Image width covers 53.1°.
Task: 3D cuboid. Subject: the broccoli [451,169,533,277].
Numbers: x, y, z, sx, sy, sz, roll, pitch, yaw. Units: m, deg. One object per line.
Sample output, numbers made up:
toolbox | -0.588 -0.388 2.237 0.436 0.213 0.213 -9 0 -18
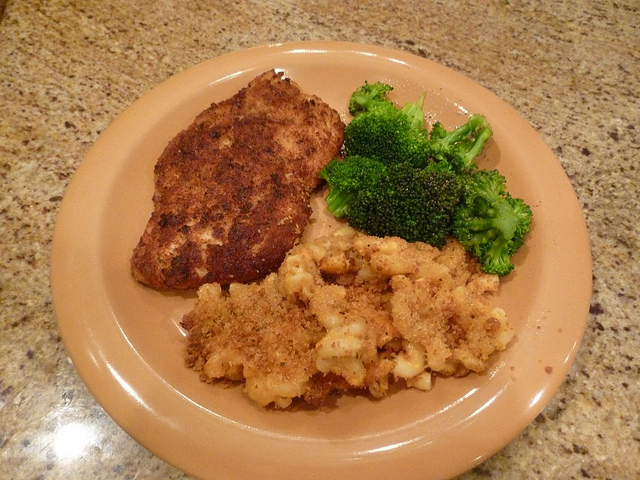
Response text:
broccoli | 0.689 -0.061 2.476 0.281 0.340 0.127 24 59 -16

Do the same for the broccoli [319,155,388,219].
broccoli | 0.101 -0.203 2.564 0.253 0.213 0.225 22 94 37

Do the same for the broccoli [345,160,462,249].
broccoli | 0.334 -0.132 2.431 0.322 0.110 0.362 18 74 11

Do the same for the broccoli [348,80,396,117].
broccoli | 0.202 -0.585 2.623 0.120 0.117 0.047 -42 90 -21

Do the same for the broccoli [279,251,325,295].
broccoli | -0.066 0.120 2.275 0.139 0.041 0.135 4 71 -3

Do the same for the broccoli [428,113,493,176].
broccoli | 0.586 -0.407 2.595 0.271 0.239 0.147 -43 79 28
